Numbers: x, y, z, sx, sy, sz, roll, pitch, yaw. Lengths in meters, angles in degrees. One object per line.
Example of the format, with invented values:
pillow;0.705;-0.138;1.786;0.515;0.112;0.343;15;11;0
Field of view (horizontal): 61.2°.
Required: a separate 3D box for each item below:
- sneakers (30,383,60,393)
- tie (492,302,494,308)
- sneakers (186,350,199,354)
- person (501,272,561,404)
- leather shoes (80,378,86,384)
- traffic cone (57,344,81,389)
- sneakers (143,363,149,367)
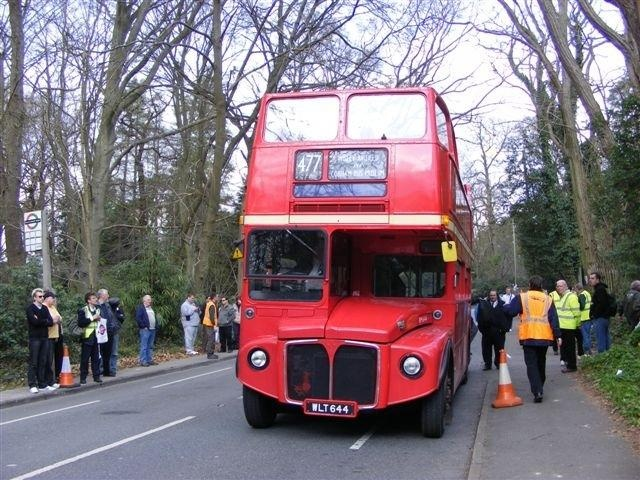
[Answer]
sneakers;-6.872;3.661;13.506;0.567;0.268;0.210;-3;-3;-2
tie;5.179;1.920;16.224;0.025;0.118;0.076;7;-9;-18
sneakers;-5.327;4.632;22.374;0.375;0.186;0.174;-3;-5;27
person;4.210;1.904;10.593;0.877;2.388;1.123;-4;-5;24
leather shoes;-6.407;3.817;14.704;0.152;0.175;0.116;0;-2;8
traffic cone;-6.603;3.310;14.263;0.417;1.041;0.609;0;-5;-27
sneakers;-6.005;4.314;18.788;0.235;0.117;0.085;-8;-3;27
